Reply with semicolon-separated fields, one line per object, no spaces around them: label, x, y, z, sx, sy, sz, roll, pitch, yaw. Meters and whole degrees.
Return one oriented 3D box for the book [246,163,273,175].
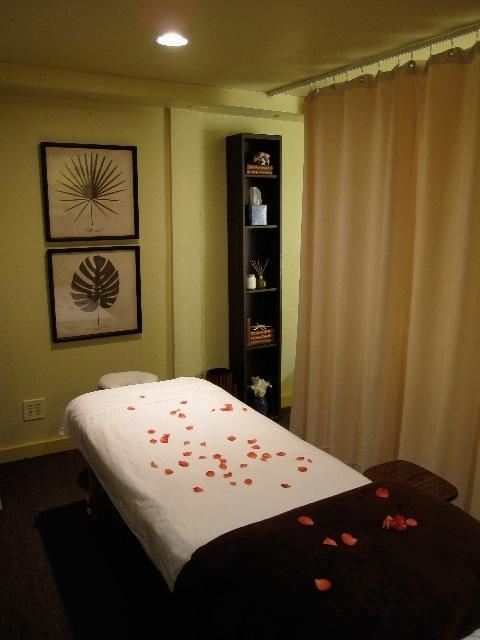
book;0.152;-1.121;3.644;0.252;0.096;0.024;-5;9;-36

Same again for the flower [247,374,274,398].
flower;0.161;0.548;3.934;0.155;0.179;0.161;-9;16;-28

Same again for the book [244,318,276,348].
book;0.146;0.100;3.844;0.171;0.088;0.233;-4;9;-26

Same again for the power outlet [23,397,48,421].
power outlet;-1.407;0.603;3.289;0.135;0.161;0.018;-7;14;-39
